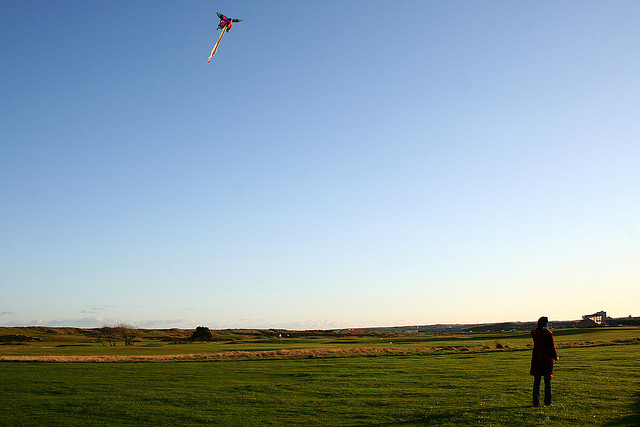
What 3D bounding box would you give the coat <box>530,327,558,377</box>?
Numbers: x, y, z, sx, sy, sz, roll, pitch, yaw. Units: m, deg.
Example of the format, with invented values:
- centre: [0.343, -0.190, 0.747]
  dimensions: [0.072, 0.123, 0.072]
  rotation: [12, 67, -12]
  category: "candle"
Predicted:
- centre: [11.483, 7.146, 21.784]
  dimensions: [1.246, 2.499, 1.829]
  rotation: [-10, -19, 24]
  category: "coat"
